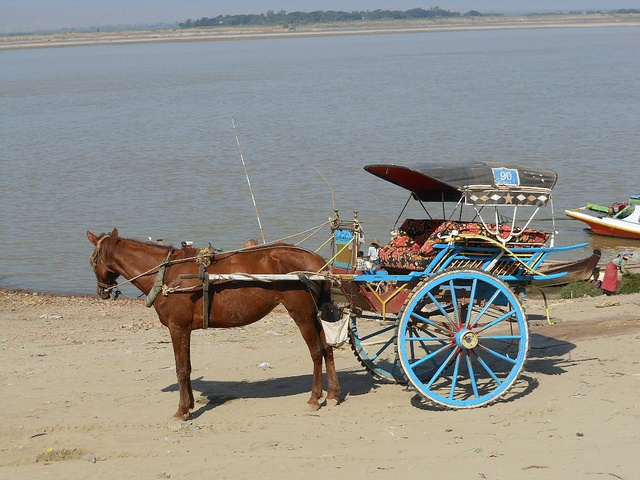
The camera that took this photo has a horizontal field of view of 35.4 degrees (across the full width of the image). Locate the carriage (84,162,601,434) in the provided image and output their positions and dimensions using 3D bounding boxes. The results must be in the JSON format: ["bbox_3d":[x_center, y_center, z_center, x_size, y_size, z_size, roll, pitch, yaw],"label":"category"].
[{"bbox_3d":[4.350,1.098,26.676,18.710,5.464,4.746,0,0,0],"label":"carriage"}]

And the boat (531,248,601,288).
[{"bbox_3d":[8.354,1.008,33.455,3.068,0.657,1.728,-5,9,12],"label":"boat"}]
